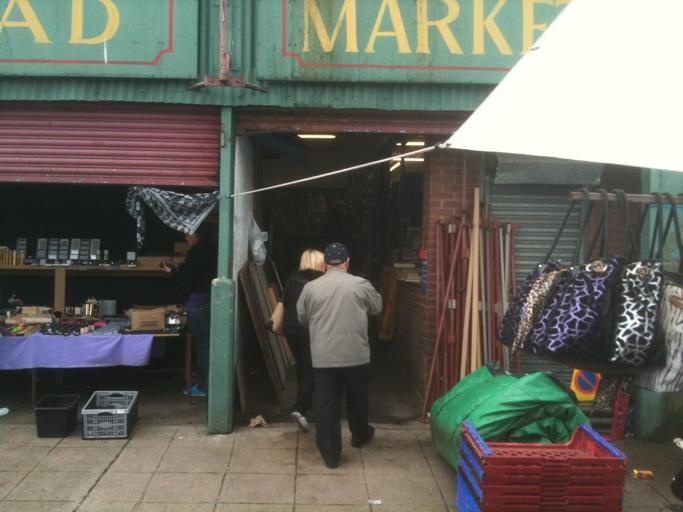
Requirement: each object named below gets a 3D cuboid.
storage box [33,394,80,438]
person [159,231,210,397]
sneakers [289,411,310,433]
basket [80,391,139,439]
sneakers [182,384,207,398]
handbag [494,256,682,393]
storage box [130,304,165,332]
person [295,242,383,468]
[{"bbox_3d":[-3.245,1.815,9.420,0.443,0.344,0.416,0,14,-4],"label":"storage box"},{"bbox_3d":[-1.900,0.775,10.623,0.544,2.076,1.299,-3,14,-12],"label":"person"},{"bbox_3d":[-0.476,1.915,9.586,0.144,0.232,0.120,-27,-22,-22],"label":"sneakers"},{"bbox_3d":[-2.635,1.801,9.428,0.536,0.376,0.507,0,14,-2],"label":"basket"},{"bbox_3d":[-1.885,1.730,10.666,0.302,0.148,0.155,4,-8,-2],"label":"sneakers"},{"bbox_3d":[2.276,0.539,7.525,1.515,1.103,0.560,4,14,12],"label":"handbag"},{"bbox_3d":[-2.378,0.760,10.248,0.303,0.216,0.324,0,-2,0],"label":"storage box"},{"bbox_3d":[-0.083,1.031,8.957,0.680,2.193,0.884,11,17,37],"label":"person"}]
